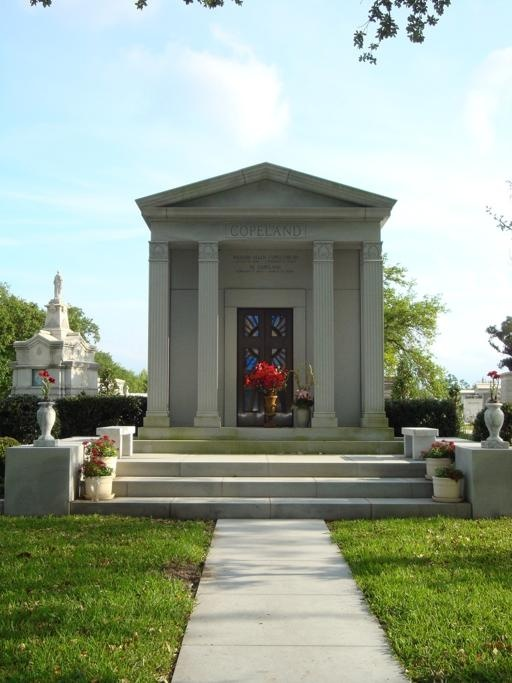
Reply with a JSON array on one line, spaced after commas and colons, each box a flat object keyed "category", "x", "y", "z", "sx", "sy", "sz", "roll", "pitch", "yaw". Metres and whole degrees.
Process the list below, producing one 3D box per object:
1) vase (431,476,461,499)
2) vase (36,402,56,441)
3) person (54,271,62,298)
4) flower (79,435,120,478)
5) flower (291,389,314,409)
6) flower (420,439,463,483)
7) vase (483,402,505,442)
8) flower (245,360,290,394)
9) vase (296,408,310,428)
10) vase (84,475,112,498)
[{"category": "vase", "x": 2.581, "y": 1.973, "z": 10.740, "sx": 0.334, "sy": 0.236, "sz": 0.327, "roll": 0, "pitch": -7, "yaw": -2}, {"category": "vase", "x": -2.914, "y": 1.120, "z": 10.859, "sx": 0.347, "sy": 0.560, "sz": 0.327, "roll": 2, "pitch": -9, "yaw": -23}, {"category": "person", "x": -7.651, "y": -2.194, "z": 30.345, "sx": 0.261, "sy": 1.029, "sz": 1.006, "roll": 0, "pitch": 1, "yaw": -15}, {"category": "flower", "x": -2.196, "y": 1.656, "z": 11.075, "sx": 0.611, "sy": 0.775, "sz": 0.503, "roll": 1, "pitch": 4, "yaw": 4}, {"category": "flower", "x": 0.871, "y": 1.123, "z": 15.526, "sx": 0.372, "sy": 0.210, "sz": 0.376, "roll": -5, "pitch": -13, "yaw": 40}, {"category": "flower", "x": 2.653, "y": 1.698, "z": 11.404, "sx": 0.525, "sy": 0.542, "sz": 0.528, "roll": -1, "pitch": -3, "yaw": 3}, {"category": "vase", "x": 3.314, "y": 1.114, "z": 11.075, "sx": 0.278, "sy": 0.636, "sz": 1.121, "roll": 1, "pitch": 1, "yaw": 17}, {"category": "flower", "x": 0.196, "y": 0.713, "z": 16.004, "sx": 0.715, "sy": 0.700, "sz": 0.718, "roll": 3, "pitch": 3, "yaw": 11}, {"category": "vase", "x": 0.877, "y": 1.488, "z": 15.534, "sx": 0.375, "sy": 0.440, "sz": 0.327, "roll": 0, "pitch": -6, "yaw": 3}, {"category": "vase", "x": -2.197, "y": 1.998, "z": 10.860, "sx": 0.336, "sy": 0.235, "sz": 0.327, "roll": 0, "pitch": -8, "yaw": -2}]
